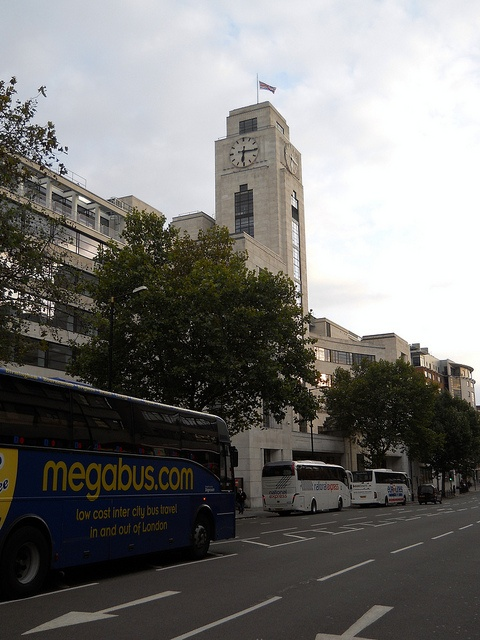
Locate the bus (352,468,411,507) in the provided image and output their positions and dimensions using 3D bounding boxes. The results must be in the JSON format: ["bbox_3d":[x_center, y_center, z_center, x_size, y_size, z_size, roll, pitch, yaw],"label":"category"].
[{"bbox_3d":[10.748,12.886,49.818,2.308,2.887,6.741,-7,-13,37],"label":"bus"}]

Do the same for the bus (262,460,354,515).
[{"bbox_3d":[4.192,9.848,37.958,2.001,3.017,7.236,-10,-16,33],"label":"bus"}]

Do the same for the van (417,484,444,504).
[{"bbox_3d":[15.769,14.584,53.580,1.396,1.386,2.664,-3,-8,19],"label":"van"}]
